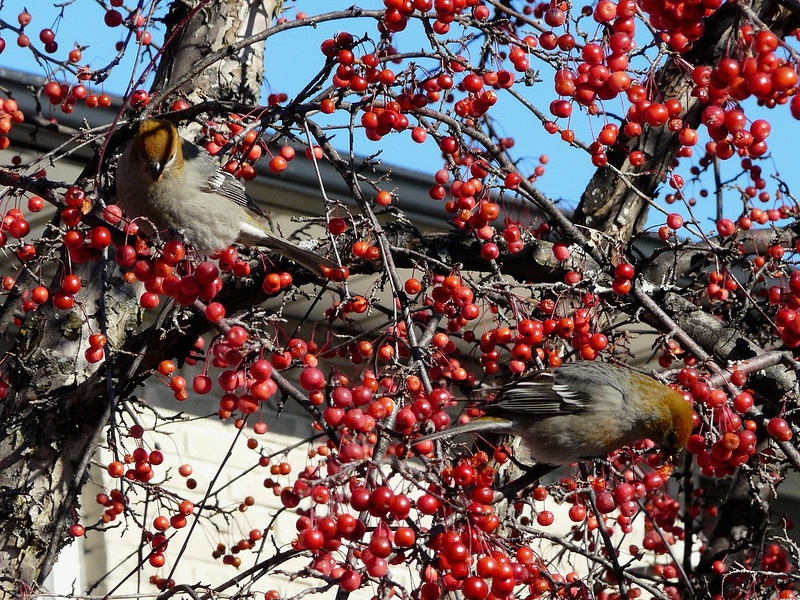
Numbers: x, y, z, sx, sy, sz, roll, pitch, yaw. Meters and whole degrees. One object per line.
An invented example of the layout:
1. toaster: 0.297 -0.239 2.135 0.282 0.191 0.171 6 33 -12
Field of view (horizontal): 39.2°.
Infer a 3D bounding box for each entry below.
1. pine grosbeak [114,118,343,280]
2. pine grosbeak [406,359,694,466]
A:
1. pine grosbeak: -0.809 -0.522 6.293 1.357 0.867 0.661 12 -22 -5
2. pine grosbeak: 0.907 0.608 5.603 1.046 0.555 0.400 5 -50 8
